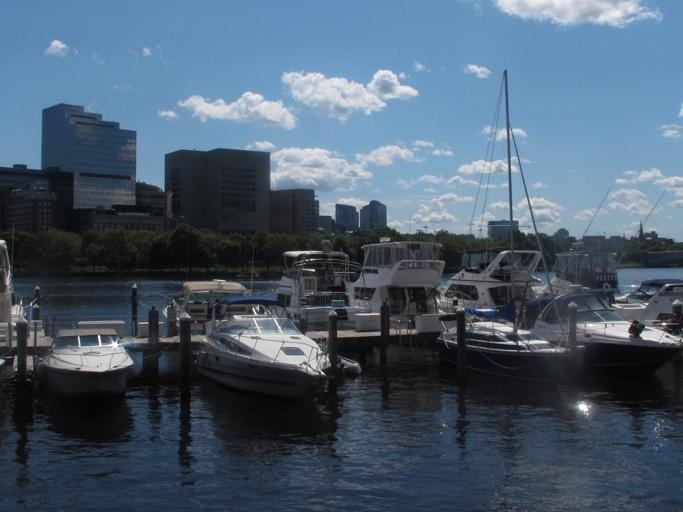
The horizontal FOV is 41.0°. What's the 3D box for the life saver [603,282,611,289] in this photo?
[{"bbox_3d":[14.780,1.615,50.923,0.314,0.312,0.074,-10,-7,14],"label":"life saver"}]
